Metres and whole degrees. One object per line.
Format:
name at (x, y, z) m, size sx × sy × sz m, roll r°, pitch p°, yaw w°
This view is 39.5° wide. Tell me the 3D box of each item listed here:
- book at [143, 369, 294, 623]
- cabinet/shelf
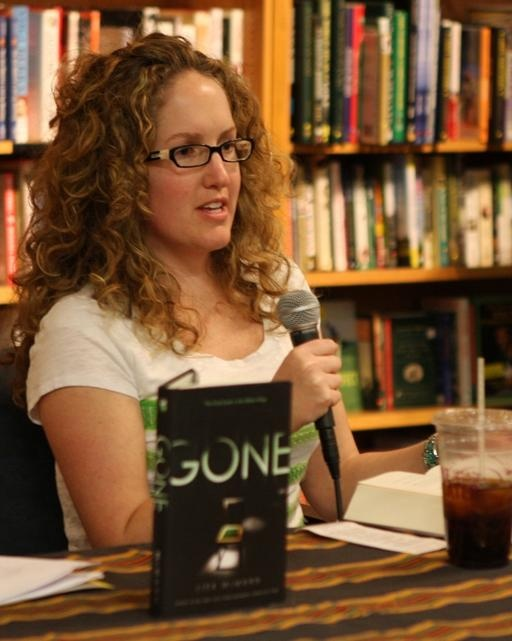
book at (-0.027, 0.144, 0.582) m, size 0.116 × 0.190 × 0.038 m, roll -3°, pitch 5°, yaw -25°
cabinet/shelf at (-0.177, -0.051, 1.690) m, size 1.079 × 1.147 × 0.811 m, roll -9°, pitch -4°, yaw 28°
